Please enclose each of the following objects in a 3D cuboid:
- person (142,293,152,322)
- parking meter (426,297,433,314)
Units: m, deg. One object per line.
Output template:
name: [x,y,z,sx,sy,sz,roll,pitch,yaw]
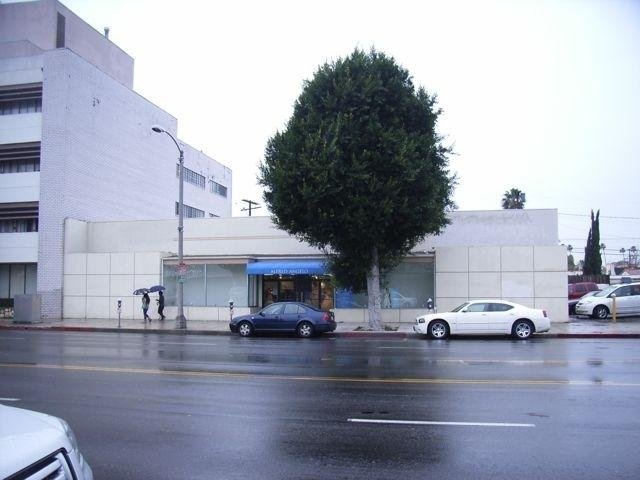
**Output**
person: [-9.106,3.473,35.767,0.421,1.690,2.914,0,2,-15]
parking meter: [5.556,3.309,34.473,0.388,0.822,0.732,1,11,1]
